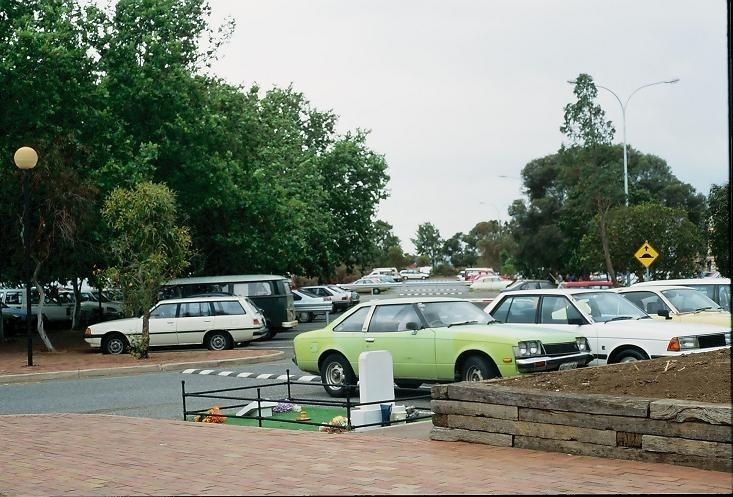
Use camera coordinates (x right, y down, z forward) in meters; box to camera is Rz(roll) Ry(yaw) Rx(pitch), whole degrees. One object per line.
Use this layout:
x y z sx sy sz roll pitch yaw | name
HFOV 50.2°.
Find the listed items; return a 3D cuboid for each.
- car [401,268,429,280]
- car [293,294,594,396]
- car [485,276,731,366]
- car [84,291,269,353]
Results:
6.852 3.739 109.586 3.525 1.106 1.484 -2 4 2 | car
1.418 1.885 15.969 5.600 1.741 1.523 -5 -6 31 | car
4.979 1.543 16.289 3.795 1.137 1.902 -4 -2 34 | car
-6.255 2.493 26.344 5.846 1.718 2.234 0 -3 0 | car
